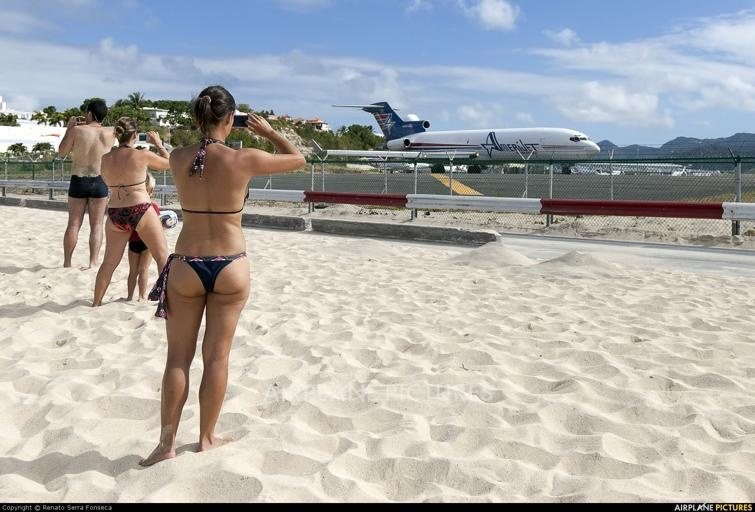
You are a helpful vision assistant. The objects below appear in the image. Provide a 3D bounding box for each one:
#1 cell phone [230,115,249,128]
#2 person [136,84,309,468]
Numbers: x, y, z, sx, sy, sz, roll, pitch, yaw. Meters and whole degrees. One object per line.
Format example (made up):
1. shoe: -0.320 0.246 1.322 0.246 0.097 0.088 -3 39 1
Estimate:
1. cell phone: -0.980 -0.961 4.041 0.125 0.065 0.012 -3 13 4
2. person: -1.129 0.126 3.944 1.001 2.567 0.641 -2 10 -27
